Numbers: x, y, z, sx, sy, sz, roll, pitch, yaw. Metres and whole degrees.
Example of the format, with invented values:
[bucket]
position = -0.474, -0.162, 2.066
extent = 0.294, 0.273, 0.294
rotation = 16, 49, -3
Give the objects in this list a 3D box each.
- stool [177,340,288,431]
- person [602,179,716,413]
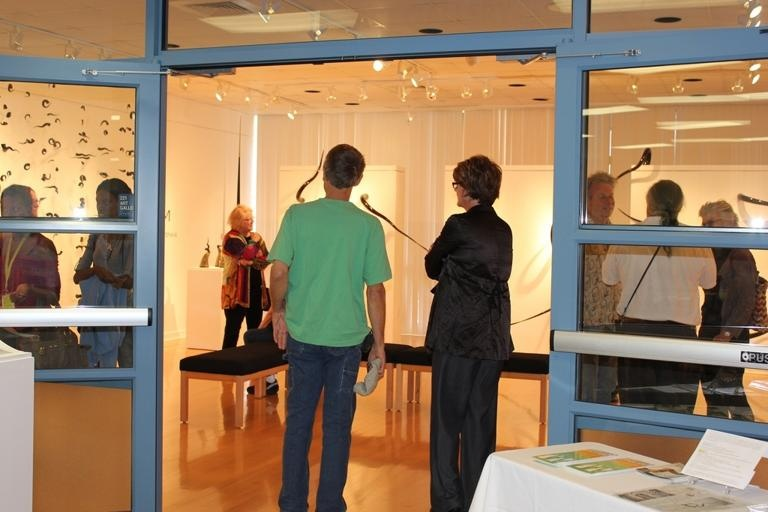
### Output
[stool]
position = -1.348, 1.162, 6.314
extent = 0.610, 0.463, 1.096
rotation = 1, -3, 14
[person]
position = 1.336, 0.327, 3.365
extent = 0.498, 1.374, 0.386
rotation = 3, 25, 25
